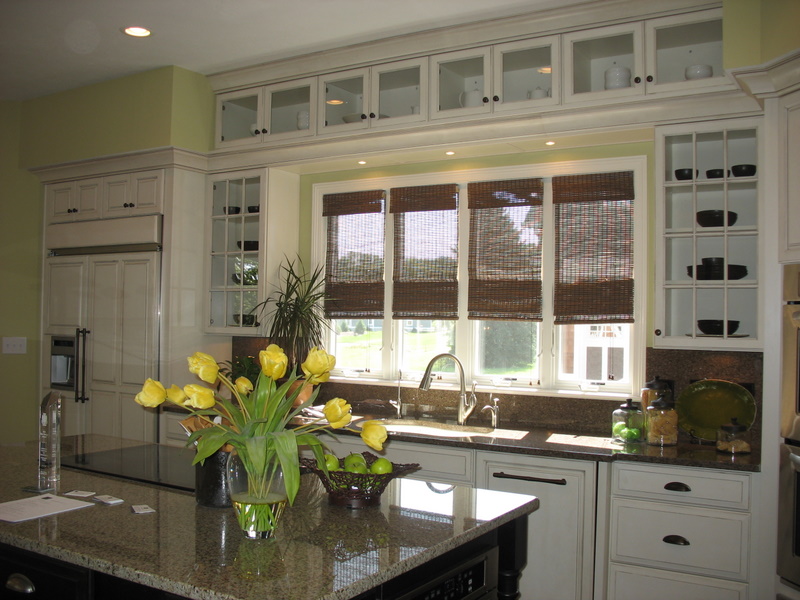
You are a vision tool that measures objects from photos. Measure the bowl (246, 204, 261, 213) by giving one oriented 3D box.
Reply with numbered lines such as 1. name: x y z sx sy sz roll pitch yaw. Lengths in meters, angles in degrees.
1. bowl: -1.215 -0.761 5.441 0.142 0.072 0.028 4 2 45

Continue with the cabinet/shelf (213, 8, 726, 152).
1. cabinet/shelf: 0.363 -1.499 4.643 3.470 0.618 0.322 3 2 23

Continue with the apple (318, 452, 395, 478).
1. apple: -0.178 0.693 2.767 0.200 0.073 0.177 -6 -10 40

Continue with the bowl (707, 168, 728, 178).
1. bowl: 1.930 -0.774 4.032 0.064 0.040 0.065 1 -2 0

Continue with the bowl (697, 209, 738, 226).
1. bowl: 1.942 -0.502 4.050 0.224 0.095 0.115 3 2 24

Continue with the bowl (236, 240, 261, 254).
1. bowl: -1.273 -0.450 5.474 0.239 0.094 0.047 4 2 36

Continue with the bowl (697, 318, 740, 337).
1. bowl: 1.935 0.165 4.028 0.222 0.094 0.137 4 2 36

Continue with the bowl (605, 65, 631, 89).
1. bowl: 1.378 -1.413 4.200 0.163 0.123 0.126 1 1 28

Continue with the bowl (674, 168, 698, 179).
1. bowl: 1.777 -0.787 4.108 0.091 0.047 0.091 0 -1 0

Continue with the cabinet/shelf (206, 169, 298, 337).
1. cabinet/shelf: -1.358 -0.595 5.563 0.459 0.984 0.317 -8 -14 20

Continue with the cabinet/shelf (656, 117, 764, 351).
1. cabinet/shelf: 1.923 -0.401 4.139 0.629 1.314 0.383 3 2 23

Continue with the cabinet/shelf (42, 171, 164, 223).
1. cabinet/shelf: -2.549 -0.894 5.700 1.410 0.399 0.149 -1 -1 25

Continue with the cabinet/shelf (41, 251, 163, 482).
1. cabinet/shelf: -2.601 0.653 5.812 0.977 1.801 0.588 5 6 8

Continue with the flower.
1. flower: -0.592 0.565 2.454 0.840 0.625 0.715 0 -4 27

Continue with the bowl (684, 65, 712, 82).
1. bowl: 1.815 -1.363 4.009 0.122 0.076 0.117 1 3 0

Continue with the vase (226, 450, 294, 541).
1. vase: -0.537 0.724 2.437 0.209 0.286 0.179 2 2 -16

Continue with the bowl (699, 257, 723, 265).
1. bowl: 1.906 -0.239 4.012 0.114 0.039 0.042 3 2 18
